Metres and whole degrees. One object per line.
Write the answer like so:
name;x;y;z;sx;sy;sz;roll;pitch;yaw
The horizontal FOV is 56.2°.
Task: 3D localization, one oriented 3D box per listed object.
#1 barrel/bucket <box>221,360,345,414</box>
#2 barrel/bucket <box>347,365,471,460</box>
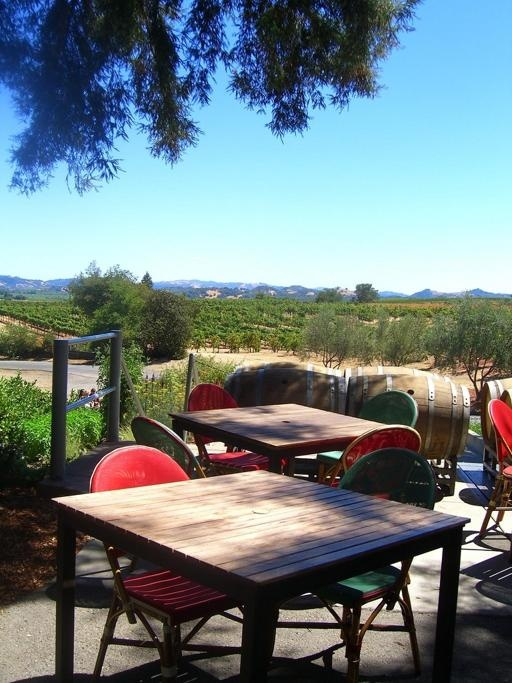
barrel/bucket;0.376;0.511;5.341;0.755;0.748;0.723;0;-2;0
barrel/bucket;1.721;1.016;5.612;1.411;1.103;1.047;11;-41;12
